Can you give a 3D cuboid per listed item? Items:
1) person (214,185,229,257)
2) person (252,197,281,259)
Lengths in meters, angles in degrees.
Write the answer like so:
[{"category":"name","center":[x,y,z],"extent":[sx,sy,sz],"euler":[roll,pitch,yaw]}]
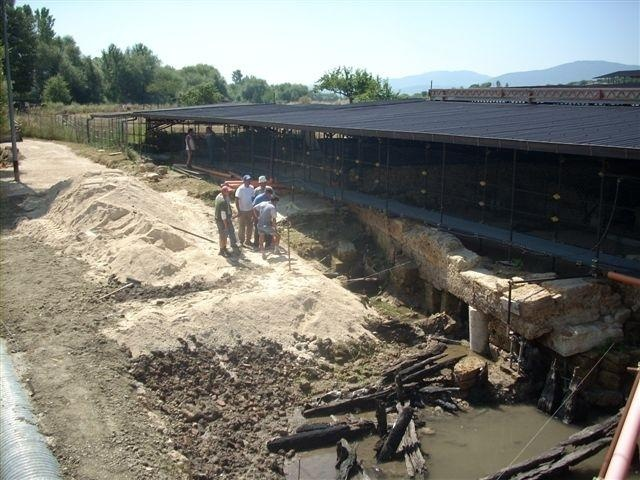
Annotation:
[{"category":"person","center":[-2.636,-0.565,13.793],"extent":[0.369,1.848,1.110],"euler":[-4,13,-12]},{"category":"person","center":[-1.491,-0.386,14.161],"extent":[0.662,1.609,1.200],"euler":[-3,13,-8]}]
